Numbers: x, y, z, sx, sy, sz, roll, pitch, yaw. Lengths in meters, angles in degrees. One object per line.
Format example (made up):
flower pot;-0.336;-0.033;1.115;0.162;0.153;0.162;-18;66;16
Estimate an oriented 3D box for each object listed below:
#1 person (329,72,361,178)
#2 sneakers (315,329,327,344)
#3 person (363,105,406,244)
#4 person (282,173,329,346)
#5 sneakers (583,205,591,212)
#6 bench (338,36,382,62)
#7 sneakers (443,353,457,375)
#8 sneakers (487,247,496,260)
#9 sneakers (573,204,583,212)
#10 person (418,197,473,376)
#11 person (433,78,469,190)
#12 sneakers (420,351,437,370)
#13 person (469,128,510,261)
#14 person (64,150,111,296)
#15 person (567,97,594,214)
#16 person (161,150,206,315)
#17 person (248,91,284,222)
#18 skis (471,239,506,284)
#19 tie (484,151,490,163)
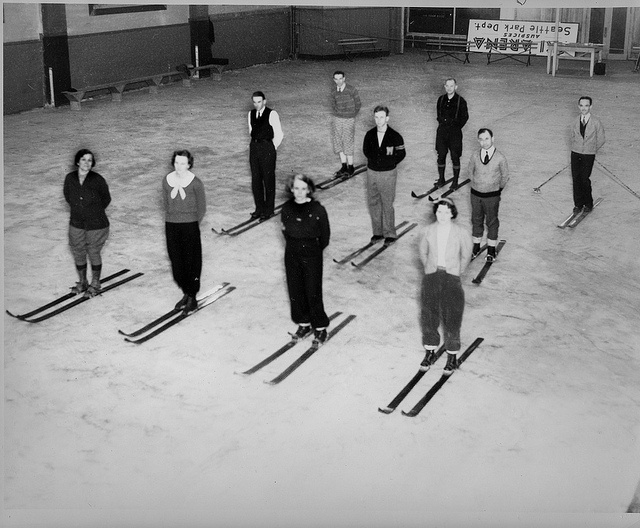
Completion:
person;0.535;-2.901;11.596;0.562;2.130;1.204;-1;18;2
sneakers;0.006;0.828;6.365;0.096;0.134;0.193;7;23;16
person;0.963;-1.309;8.428;0.603;2.100;0.537;-1;18;4
person;-0.154;-0.106;6.078;0.503;1.751;0.227;6;20;23
sneakers;4.860;-1.013;10.099;0.151;0.152;0.093;-5;4;-8
bench;1.931;-10.417;26.803;2.474;0.998;0.500;-16;23;-36
sneakers;1.382;1.060;5.867;0.090;0.179;0.272;3;16;23
sneakers;2.548;-0.170;8.261;0.078;0.169;0.237;1;43;22
sneakers;4.663;-1.010;10.051;0.165;0.077;0.101;-4;-25;-37
person;1.262;0.250;5.722;0.517;1.826;0.299;2;19;12
person;2.582;-2.537;10.961;0.579;2.118;1.060;2;19;12
sneakers;1.173;1.045;6.000;0.064;0.136;0.194;10;58;51
person;2.411;-0.967;8.043;0.515;1.965;0.703;3;19;16
person;-3.003;-0.504;7.187;0.582;1.955;0.663;-14;22;-32
person;4.591;-1.865;9.654;0.433;2.022;0.848;7;20;26
person;-1.640;-0.368;6.806;0.425;2.028;0.455;15;25;42
person;-0.921;-1.718;9.416;0.578;2.013;0.415;-5;18;-10
skis;2.472;-0.021;8.187;0.103;0.143;0.972;2;37;33
tie;2.298;-1.466;7.675;0.074;0.164;0.061;-10;20;-24
